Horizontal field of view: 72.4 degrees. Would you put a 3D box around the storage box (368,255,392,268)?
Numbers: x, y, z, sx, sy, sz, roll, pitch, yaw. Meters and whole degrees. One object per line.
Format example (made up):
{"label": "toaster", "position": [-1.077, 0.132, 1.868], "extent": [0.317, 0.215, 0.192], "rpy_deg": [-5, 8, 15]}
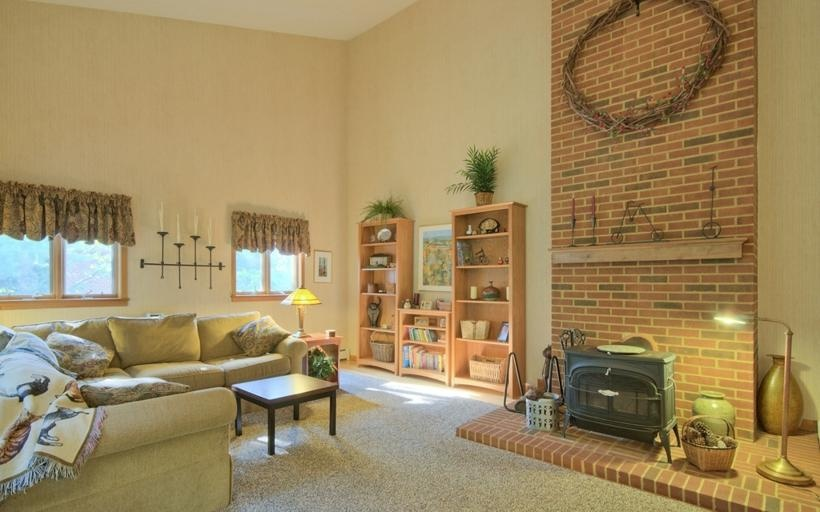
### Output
{"label": "storage box", "position": [-0.465, 0.083, 8.787], "extent": [0.375, 0.208, 0.231], "rpy_deg": [-1, -2, 4]}

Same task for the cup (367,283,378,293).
{"label": "cup", "position": [-0.614, 0.511, 8.951], "extent": [0.142, 0.102, 0.140], "rpy_deg": [1, -3, 0]}

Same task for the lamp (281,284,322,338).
{"label": "lamp", "position": [-1.519, 0.783, 8.047], "extent": [0.718, 0.798, 0.705], "rpy_deg": [0, -4, 1]}

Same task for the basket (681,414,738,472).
{"label": "basket", "position": [2.914, 1.828, 5.474], "extent": [0.448, 0.539, 0.547], "rpy_deg": [2, -11, -10]}

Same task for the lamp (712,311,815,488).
{"label": "lamp", "position": [3.568, 1.373, 5.610], "extent": [0.734, 1.573, 1.224], "rpy_deg": [-2, -2, 35]}

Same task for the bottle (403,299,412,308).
{"label": "bottle", "position": [-0.042, 0.716, 8.361], "extent": [0.122, 0.128, 0.127], "rpy_deg": [-1, -2, -1]}

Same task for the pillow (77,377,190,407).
{"label": "pillow", "position": [-2.419, 1.189, 4.931], "extent": [0.854, 0.181, 0.256], "rpy_deg": [0, -2, -30]}

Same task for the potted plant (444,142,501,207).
{"label": "potted plant", "position": [0.952, -1.150, 7.815], "extent": [0.867, 0.874, 0.786], "rpy_deg": [2, -5, 1]}

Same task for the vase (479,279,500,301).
{"label": "vase", "position": [1.077, 0.484, 7.686], "extent": [0.257, 0.236, 0.253], "rpy_deg": [2, -7, 2]}

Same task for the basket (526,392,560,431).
{"label": "basket", "position": [1.444, 1.733, 6.261], "extent": [0.381, 0.277, 0.285], "rpy_deg": [0, -3, 41]}

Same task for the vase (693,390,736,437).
{"label": "vase", "position": [3.133, 1.695, 5.832], "extent": [0.407, 0.462, 0.386], "rpy_deg": [-13, -28, 39]}

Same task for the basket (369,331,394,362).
{"label": "basket", "position": [-0.452, 1.445, 8.818], "extent": [0.372, 0.548, 0.630], "rpy_deg": [6, -10, -31]}

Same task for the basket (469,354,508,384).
{"label": "basket", "position": [1.071, 1.455, 7.631], "extent": [0.534, 0.350, 0.310], "rpy_deg": [-6, -10, 40]}

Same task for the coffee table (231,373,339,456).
{"label": "coffee table", "position": [-1.438, 1.634, 6.243], "extent": [0.891, 0.552, 0.877], "rpy_deg": [2, -3, -44]}

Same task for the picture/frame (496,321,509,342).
{"label": "picture/frame", "position": [1.240, 1.026, 7.545], "extent": [0.032, 0.266, 0.246], "rpy_deg": [23, -14, -15]}

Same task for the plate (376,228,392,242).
{"label": "plate", "position": [-0.429, -0.329, 8.762], "extent": [0.294, 0.233, 0.243], "rpy_deg": [-2, -2, 24]}

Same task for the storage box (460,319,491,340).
{"label": "storage box", "position": [0.878, 1.019, 7.697], "extent": [0.338, 0.212, 0.238], "rpy_deg": [-1, -6, 30]}
